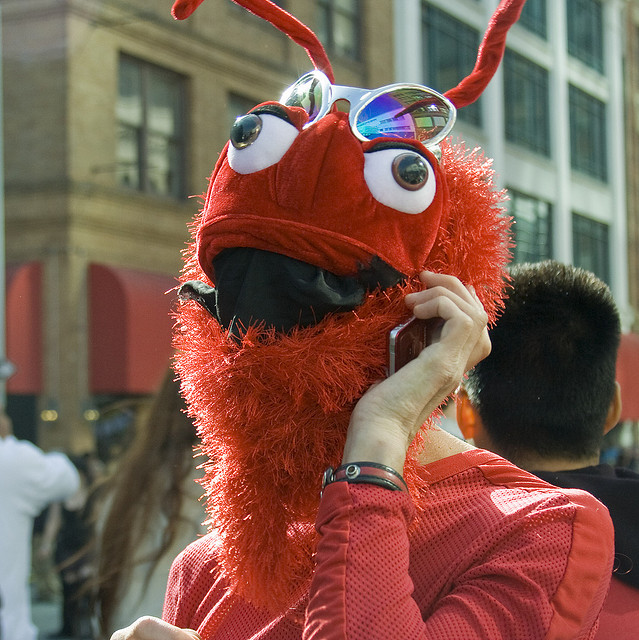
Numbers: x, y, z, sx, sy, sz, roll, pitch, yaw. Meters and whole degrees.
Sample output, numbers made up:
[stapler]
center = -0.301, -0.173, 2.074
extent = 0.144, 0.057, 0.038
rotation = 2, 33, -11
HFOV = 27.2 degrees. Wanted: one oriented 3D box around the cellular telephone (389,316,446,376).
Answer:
[cellular telephone]
center = 0.235, 0.065, 3.323
extent = 0.161, 0.152, 0.059
rotation = 7, -9, -41
